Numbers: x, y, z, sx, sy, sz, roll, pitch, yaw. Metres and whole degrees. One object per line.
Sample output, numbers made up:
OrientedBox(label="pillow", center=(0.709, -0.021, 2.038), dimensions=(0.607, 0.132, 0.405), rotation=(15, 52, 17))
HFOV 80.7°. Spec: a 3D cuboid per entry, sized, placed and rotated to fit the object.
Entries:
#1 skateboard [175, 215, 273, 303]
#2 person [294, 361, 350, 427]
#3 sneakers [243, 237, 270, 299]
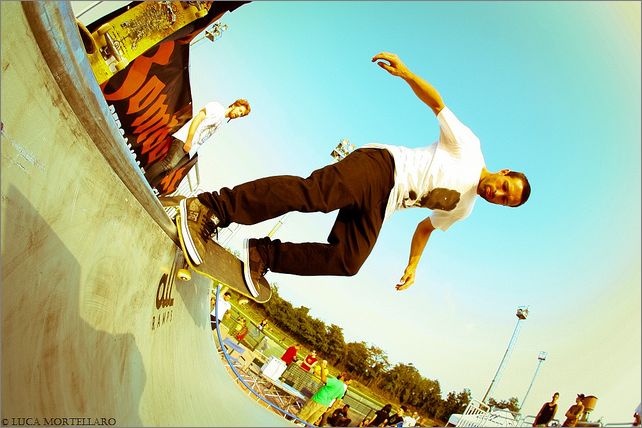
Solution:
OrientedBox(label="skateboard", center=(-0.758, 0.419, 3.206), dimensions=(1.123, 0.168, 0.369), rotation=(35, 21, -45))
OrientedBox(label="person", center=(0.027, 3.810, 7.900), dimensions=(0.720, 0.906, 0.979), rotation=(32, -19, 12))
OrientedBox(label="sneakers", center=(-0.614, 0.490, 3.490), dimensions=(0.228, 0.539, 0.176), rotation=(-13, -13, 11))
